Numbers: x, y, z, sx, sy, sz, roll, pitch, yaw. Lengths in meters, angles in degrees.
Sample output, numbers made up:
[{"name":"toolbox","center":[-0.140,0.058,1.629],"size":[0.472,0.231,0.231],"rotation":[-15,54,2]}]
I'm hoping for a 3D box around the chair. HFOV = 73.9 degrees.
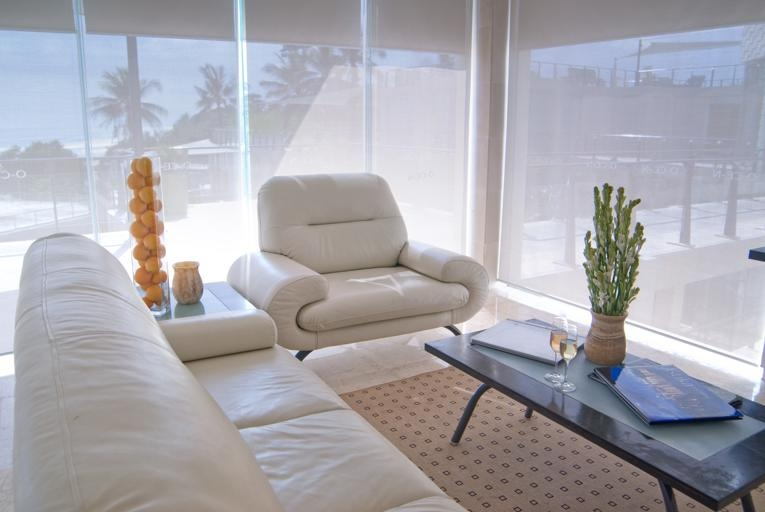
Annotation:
[{"name":"chair","center":[-0.226,0.065,3.314],"size":[1.646,1.159,1.265],"rotation":[-4,12,-27]}]
